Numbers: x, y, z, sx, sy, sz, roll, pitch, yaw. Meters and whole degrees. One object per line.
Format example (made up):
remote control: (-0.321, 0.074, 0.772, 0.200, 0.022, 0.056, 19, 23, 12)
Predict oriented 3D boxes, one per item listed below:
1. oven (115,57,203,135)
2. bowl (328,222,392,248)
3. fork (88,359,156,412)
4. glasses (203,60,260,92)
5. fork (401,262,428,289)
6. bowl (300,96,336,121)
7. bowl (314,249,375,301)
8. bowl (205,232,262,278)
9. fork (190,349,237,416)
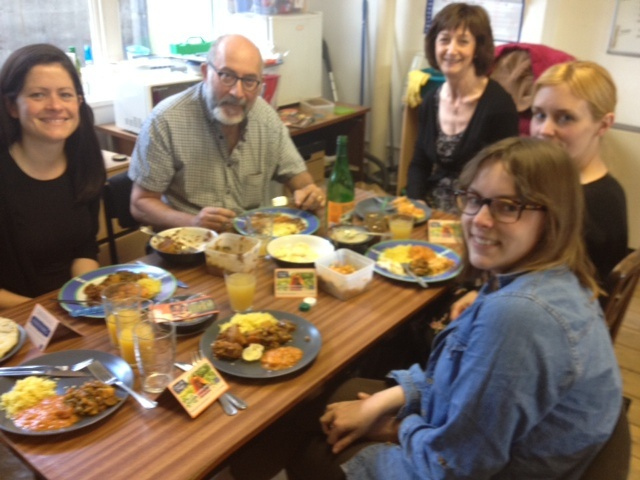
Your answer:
oven: (-1.152, -0.959, 3.389, 0.498, 0.314, 0.440, 23, 23, 15)
bowl: (0.143, -0.023, 2.024, 0.182, 0.056, 0.121, 18, 29, 24)
fork: (-0.551, 0.411, 1.280, 0.270, 0.029, 0.040, 23, 34, 24)
glasses: (-0.426, -0.819, 2.279, 0.260, 0.142, 0.135, -2, 24, -5)
fork: (0.374, 0.138, 1.823, 0.035, 0.029, 0.217, -8, 25, -10)
bowl: (-0.027, -1.171, 4.000, 0.230, 0.089, 0.292, -19, 35, -35)
bowl: (0.105, 0.140, 1.765, 0.234, 0.098, 0.214, 3, 10, -1)
bowl: (-0.344, 0.093, 1.786, 0.185, 0.078, 0.129, 2, -9, 19)
fork: (-0.355, 0.386, 1.345, 0.056, 0.048, 0.384, -24, 29, -27)
